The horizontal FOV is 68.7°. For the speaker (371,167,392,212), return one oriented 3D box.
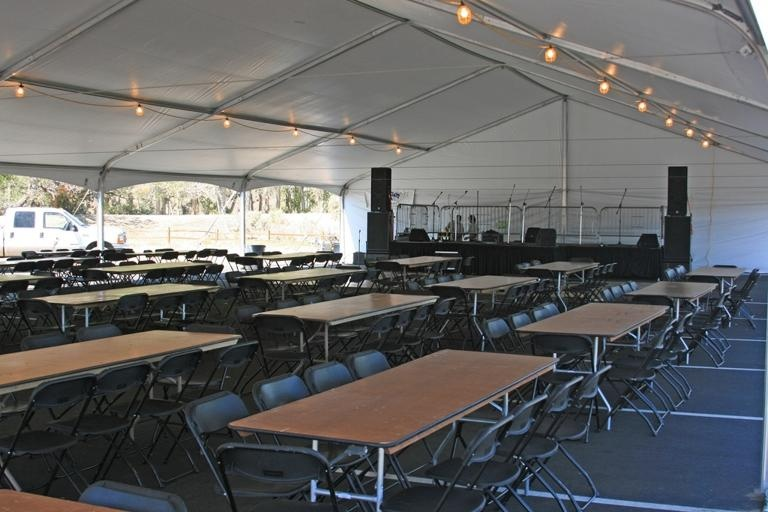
[{"bbox_3d":[-0.088,-1.806,15.483,0.557,1.234,0.175,-2,3,10],"label":"speaker"}]

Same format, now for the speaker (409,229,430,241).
[{"bbox_3d":[1.080,-0.606,16.832,0.588,0.217,0.464,0,-1,6],"label":"speaker"}]

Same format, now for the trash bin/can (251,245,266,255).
[{"bbox_3d":[-3.952,-0.170,17.564,0.504,0.250,0.464,3,6,28],"label":"trash bin/can"}]

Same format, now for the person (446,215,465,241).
[{"bbox_3d":[2.249,-0.883,17.730,0.576,0.793,1.387,-2,2,8],"label":"person"}]

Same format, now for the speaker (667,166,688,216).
[{"bbox_3d":[7.429,-1.625,14.131,0.420,1.239,0.205,-1,3,34],"label":"speaker"}]

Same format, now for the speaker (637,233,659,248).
[{"bbox_3d":[7.327,-0.389,15.441,0.615,0.267,0.502,0,1,15],"label":"speaker"}]

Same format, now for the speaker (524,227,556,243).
[{"bbox_3d":[4.499,-0.554,15.836,0.978,0.373,0.565,-1,2,-12],"label":"speaker"}]
